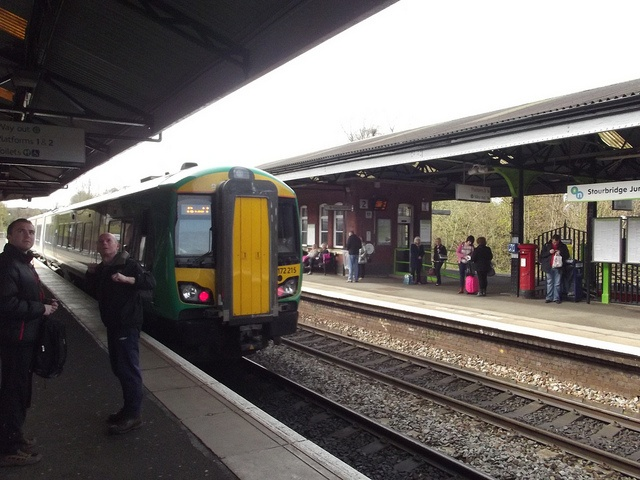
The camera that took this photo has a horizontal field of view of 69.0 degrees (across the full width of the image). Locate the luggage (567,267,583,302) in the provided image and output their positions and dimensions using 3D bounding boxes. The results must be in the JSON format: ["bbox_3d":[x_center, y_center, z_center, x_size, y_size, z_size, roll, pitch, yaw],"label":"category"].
[{"bbox_3d":[7.526,1.307,13.538,0.467,1.040,0.254,0,3,-6],"label":"luggage"}]

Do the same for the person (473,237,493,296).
[{"bbox_3d":[5.316,0.904,15.199,0.573,1.900,1.010,1,3,21],"label":"person"}]

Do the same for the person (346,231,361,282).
[{"bbox_3d":[1.375,0.719,18.539,0.558,1.971,0.892,0,3,3],"label":"person"}]

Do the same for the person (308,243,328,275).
[{"bbox_3d":[-0.070,0.928,22.043,0.992,1.369,1.028,0,3,-2],"label":"person"}]

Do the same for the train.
[{"bbox_3d":[-5.468,0.178,14.308,2.580,4.199,15.030,0,1,-31],"label":"train"}]

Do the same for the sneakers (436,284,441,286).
[{"bbox_3d":[4.589,1.754,17.971,0.157,0.083,0.350,1,3,10],"label":"sneakers"}]

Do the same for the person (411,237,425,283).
[{"bbox_3d":[3.905,0.876,18.693,0.550,1.825,1.076,1,3,13],"label":"person"}]

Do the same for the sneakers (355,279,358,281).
[{"bbox_3d":[1.477,1.660,18.558,0.075,0.082,0.142,-3,-6,-4],"label":"sneakers"}]

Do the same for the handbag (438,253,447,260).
[{"bbox_3d":[4.782,0.705,17.880,0.411,0.193,0.187,-1,4,-29],"label":"handbag"}]

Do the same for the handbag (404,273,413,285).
[{"bbox_3d":[3.463,1.597,18.160,0.343,0.397,0.270,9,-10,-39],"label":"handbag"}]

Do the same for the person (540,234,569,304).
[{"bbox_3d":[6.834,0.855,13.496,0.742,1.962,0.619,2,3,28],"label":"person"}]

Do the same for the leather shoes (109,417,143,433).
[{"bbox_3d":[-2.237,2.107,5.303,0.318,0.142,0.145,8,-3,-34],"label":"leather shoes"}]

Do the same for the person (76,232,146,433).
[{"bbox_3d":[-2.357,1.065,5.424,0.769,2.245,0.483,2,3,36],"label":"person"}]
